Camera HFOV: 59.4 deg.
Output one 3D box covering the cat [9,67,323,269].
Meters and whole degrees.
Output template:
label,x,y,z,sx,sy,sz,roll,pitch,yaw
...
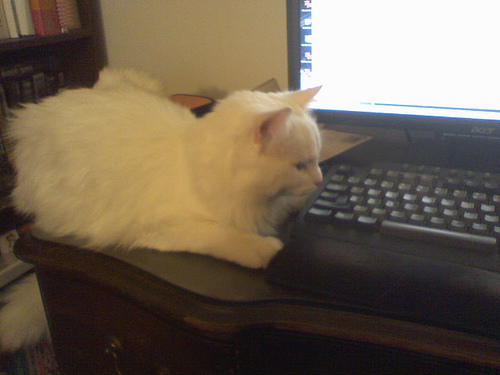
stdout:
label,x,y,z,sx,sy,sz,roll,pitch,yaw
cat,-0.118,-0.034,0.660,0.358,0.185,0.261,8,26,7
